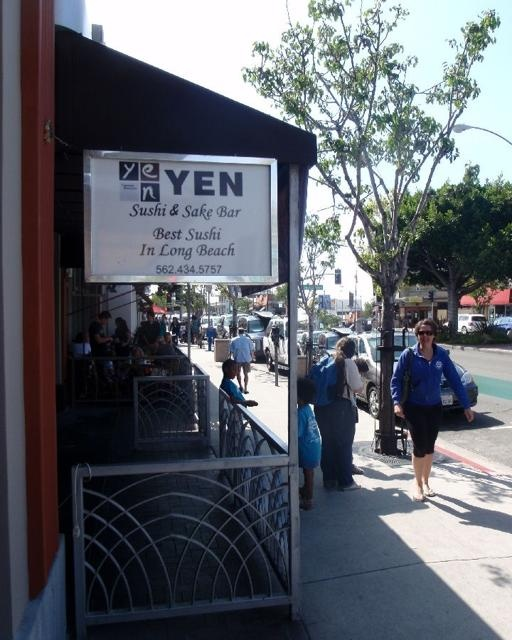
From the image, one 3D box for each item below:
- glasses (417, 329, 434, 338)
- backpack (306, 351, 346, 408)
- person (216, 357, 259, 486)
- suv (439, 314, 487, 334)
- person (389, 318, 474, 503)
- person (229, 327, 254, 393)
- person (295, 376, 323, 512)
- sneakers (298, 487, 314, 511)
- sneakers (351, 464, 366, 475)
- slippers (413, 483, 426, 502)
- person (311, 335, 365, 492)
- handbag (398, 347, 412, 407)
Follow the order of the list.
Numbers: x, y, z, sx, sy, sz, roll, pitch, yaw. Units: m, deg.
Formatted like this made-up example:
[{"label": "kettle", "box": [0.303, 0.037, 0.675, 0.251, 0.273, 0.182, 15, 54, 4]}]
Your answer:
[{"label": "glasses", "box": [1.535, 0.117, 5.287, 0.138, 0.079, 0.087, 3, 5, 22]}, {"label": "backpack", "box": [0.716, 0.638, 6.051, 0.212, 0.570, 0.295, 5, -8, -35]}, {"label": "person", "box": [-0.217, 0.716, 6.295, 0.349, 0.471, 1.839, 0, 5, -4]}, {"label": "suv", "box": [14.424, 0.259, 40.462, 1.768, 1.267, 1.066, 3, 2, 22]}, {"label": "person", "box": [1.578, 0.849, 5.255, 0.543, 1.812, 0.501, -1, -28, 16]}, {"label": "person", "box": [-0.366, 0.896, 14.079, 0.421, 1.720, 0.421, -5, 19, -18]}, {"label": "person", "box": [0.467, 1.115, 5.225, 0.188, 1.149, 0.294, 1, 3, 6]}, {"label": "sneakers", "box": [0.458, 1.625, 5.311, 0.095, 0.270, 0.204, -1, -1, 15]}, {"label": "sneakers", "box": [1.103, 1.661, 6.414, 0.080, 0.155, 0.300, 0, -9, -10]}, {"label": "slippers", "box": [1.510, 1.621, 5.407, 0.052, 0.103, 0.202, 0, -7, 4]}, {"label": "person", "box": [0.853, 0.932, 6.118, 0.397, 1.681, 0.457, 0, 13, 4]}, {"label": "handbag", "box": [1.352, 0.530, 5.315, 0.083, 0.484, 0.037, -11, 20, -33]}]
